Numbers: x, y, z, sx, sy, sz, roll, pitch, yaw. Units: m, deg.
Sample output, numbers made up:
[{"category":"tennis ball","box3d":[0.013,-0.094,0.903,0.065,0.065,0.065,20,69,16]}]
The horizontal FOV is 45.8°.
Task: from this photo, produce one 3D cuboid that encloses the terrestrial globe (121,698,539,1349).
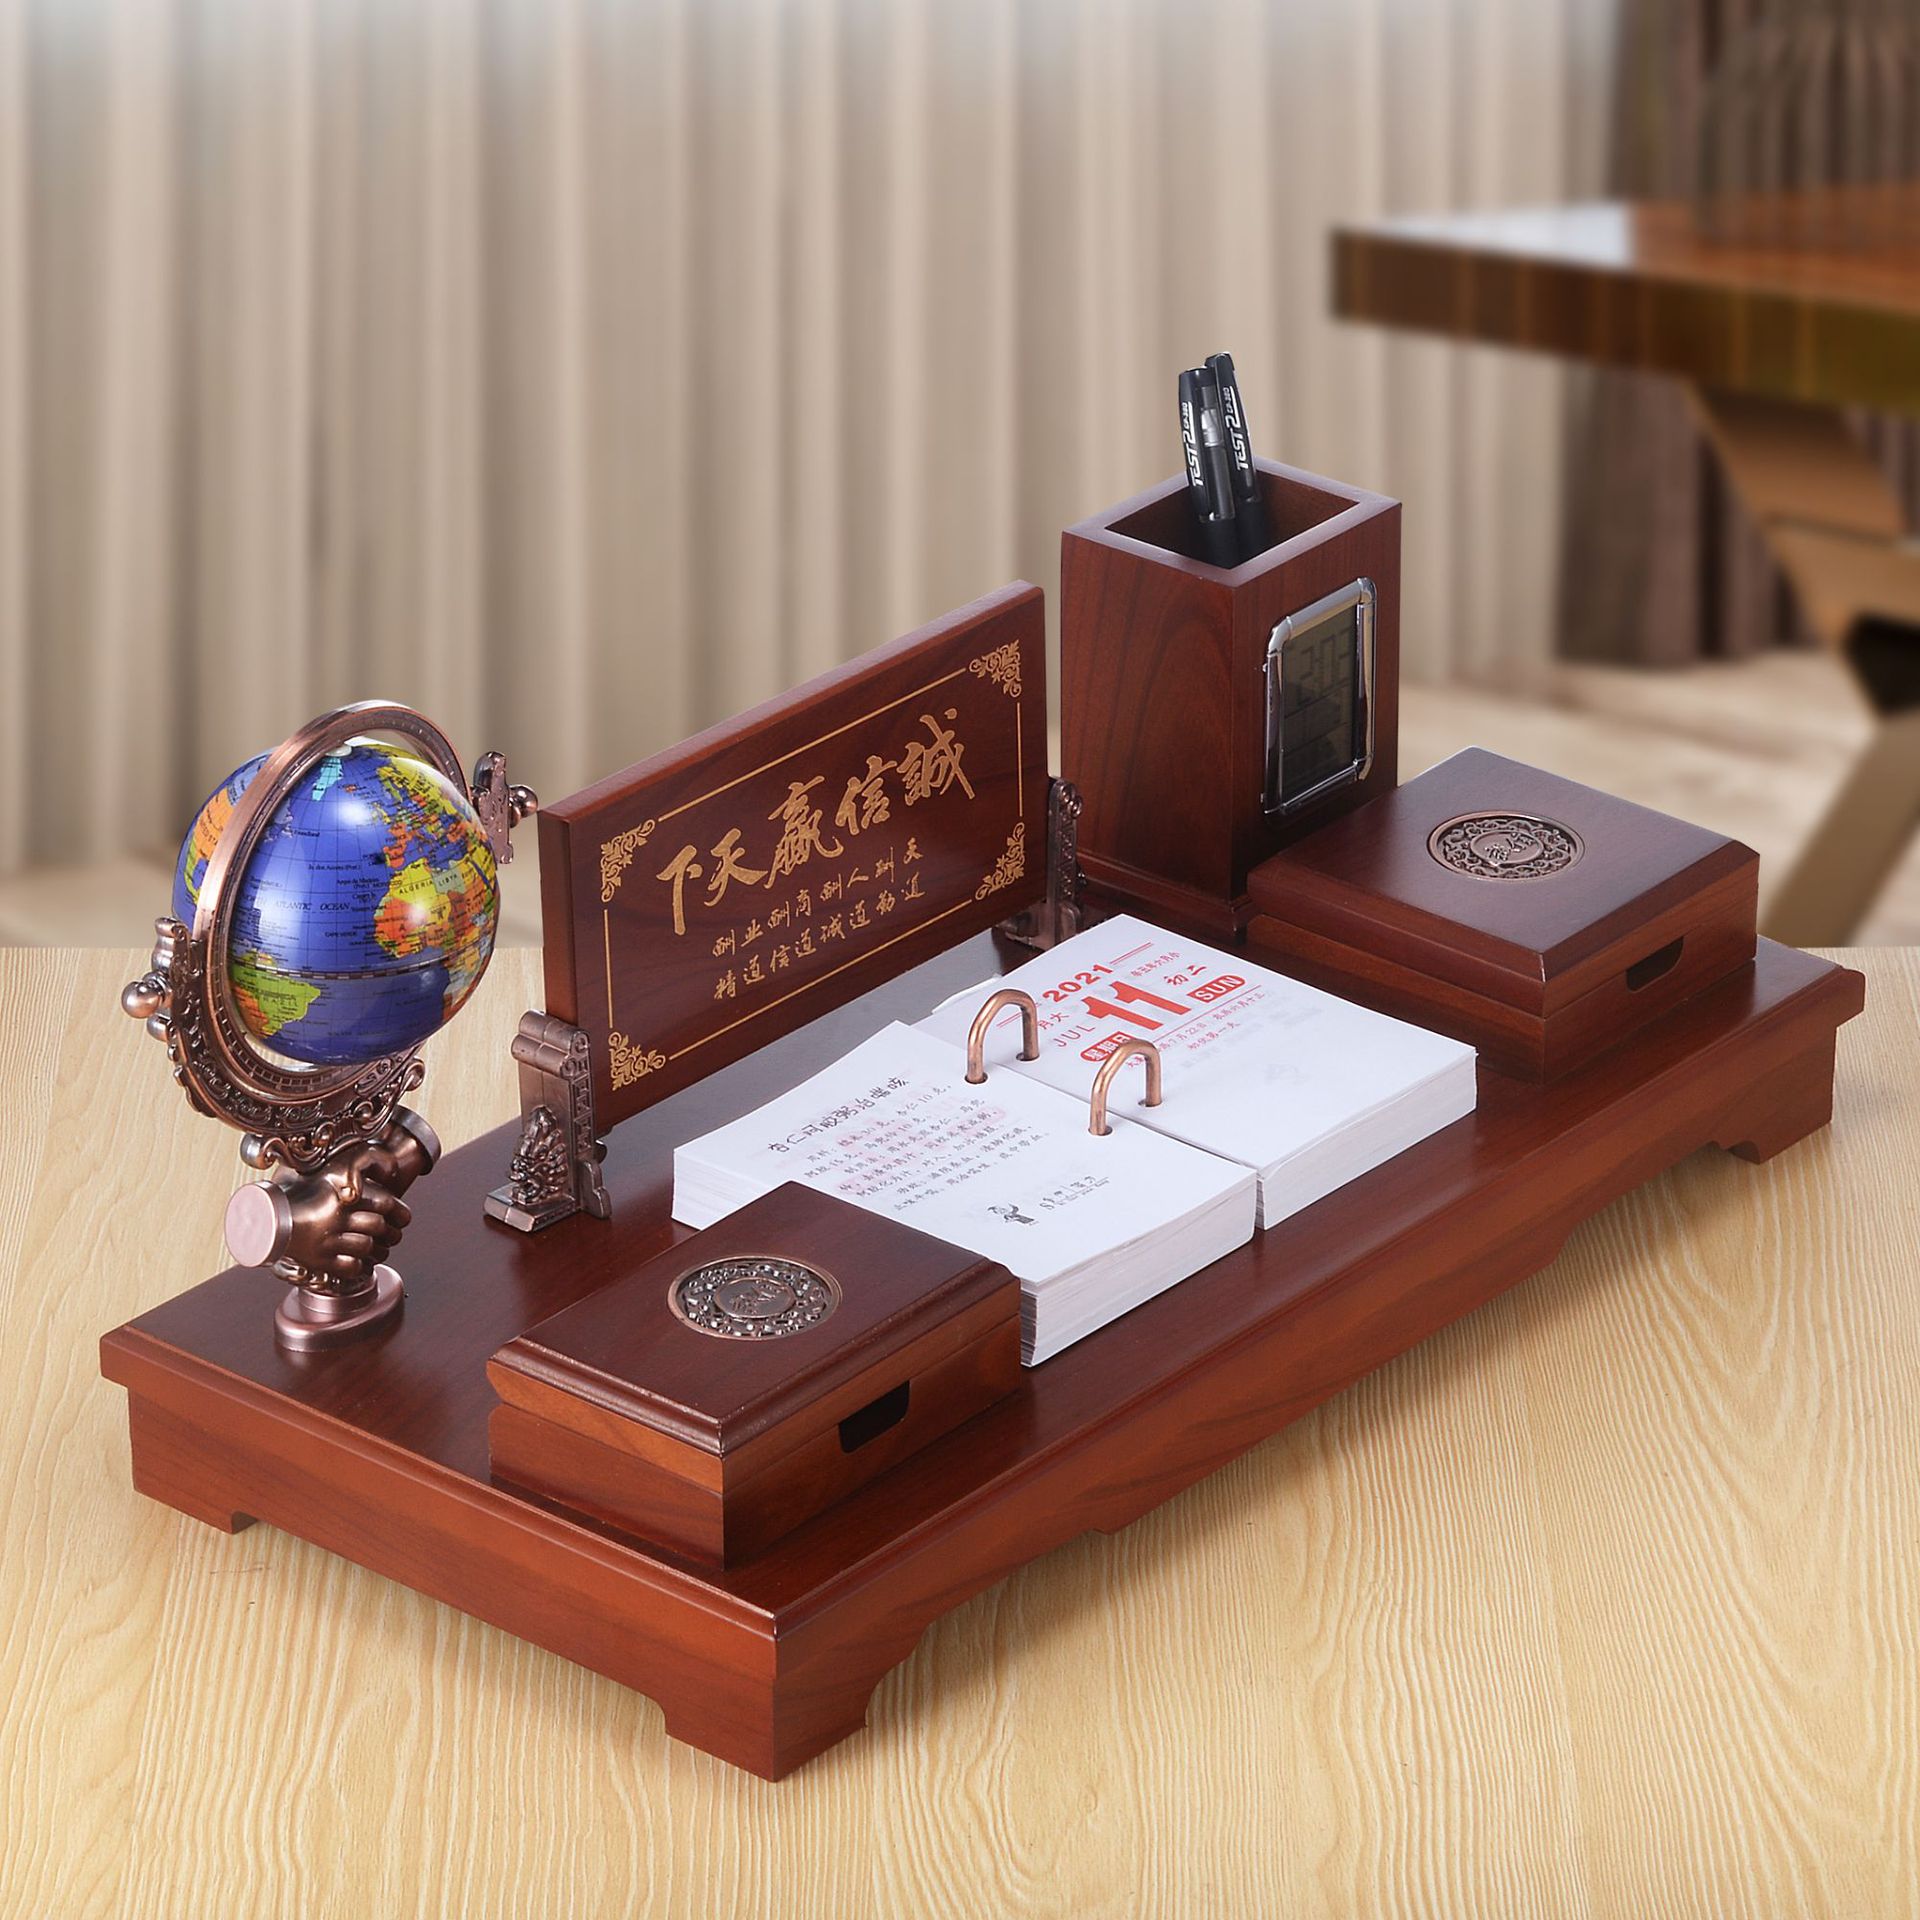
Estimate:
[{"category":"terrestrial globe","box3d":[-0.300,0.024,1.085,0.211,0.302,0.121,-19,33,-28]}]
